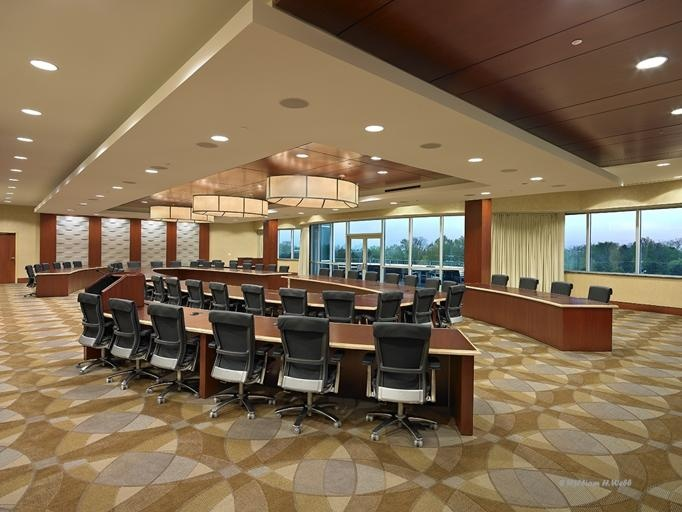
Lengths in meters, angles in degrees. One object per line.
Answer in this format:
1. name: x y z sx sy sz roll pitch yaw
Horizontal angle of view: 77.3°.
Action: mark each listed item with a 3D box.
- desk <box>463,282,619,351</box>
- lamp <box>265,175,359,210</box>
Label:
1. desk: 3.721 1.164 8.347 0.791 1.054 2.764 -3 10 -22
2. lamp: -0.559 -1.353 9.075 1.695 0.693 1.220 -8 13 -43
